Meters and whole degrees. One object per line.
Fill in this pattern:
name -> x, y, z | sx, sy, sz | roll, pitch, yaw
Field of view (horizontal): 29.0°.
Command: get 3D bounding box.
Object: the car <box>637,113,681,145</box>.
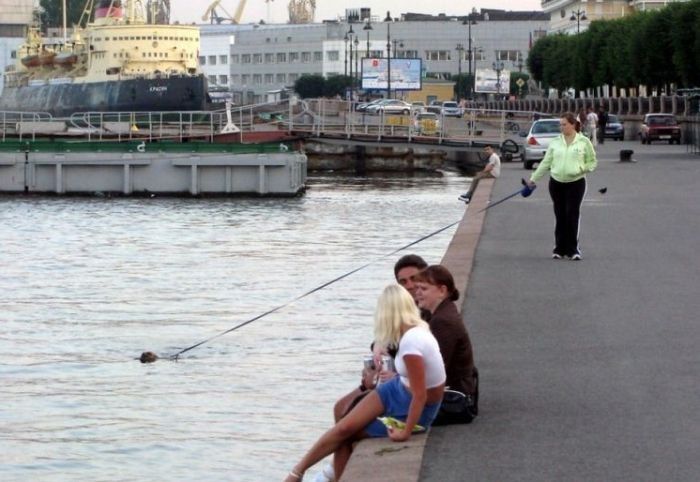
car -> 13.584, -4.889, 59.265 | 1.567, 1.281, 1.838 | 2, 9, 21

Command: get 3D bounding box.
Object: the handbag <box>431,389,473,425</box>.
handbag -> 1.089, 1.710, 14.391 | 0.457, 0.369, 0.341 | -4, 14, -5

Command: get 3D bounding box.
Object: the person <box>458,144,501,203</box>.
person -> 3.486, -1.845, 35.597 | 0.824, 1.375, 3.056 | -1, 8, 8

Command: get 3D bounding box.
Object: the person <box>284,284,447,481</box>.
person -> 0.293, 1.452, 13.909 | 1.357, 1.990, 0.428 | -2, 8, 1

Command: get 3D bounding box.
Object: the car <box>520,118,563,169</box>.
car -> 5.865, -3.071, 41.258 | 1.385, 1.004, 3.014 | -1, 10, 3

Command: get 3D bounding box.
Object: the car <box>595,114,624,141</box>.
car -> 12.878, -5.612, 66.047 | 1.018, 0.775, 1.628 | 0, -2, 6

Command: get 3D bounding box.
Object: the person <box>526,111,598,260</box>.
person -> 3.334, -0.862, 21.017 | 0.922, 2.240, 1.224 | -1, 8, 9

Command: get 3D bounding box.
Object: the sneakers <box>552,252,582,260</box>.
sneakers -> 3.356, 0.241, 20.974 | 0.405, 0.156, 0.141 | -6, 0, 37
